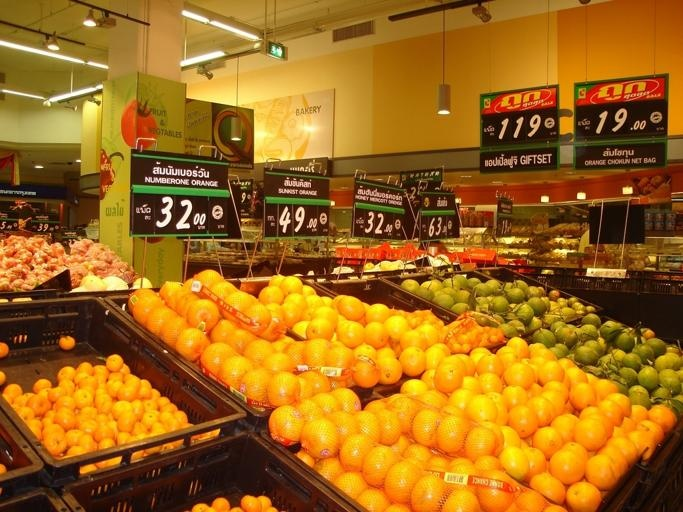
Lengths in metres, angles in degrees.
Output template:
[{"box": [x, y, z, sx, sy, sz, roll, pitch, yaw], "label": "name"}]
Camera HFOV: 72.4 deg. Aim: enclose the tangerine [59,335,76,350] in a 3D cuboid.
[{"box": [-1.237, 0.393, 2.095, 0.057, 0.058, 0.060, 11, 6, -2], "label": "tangerine"}]
